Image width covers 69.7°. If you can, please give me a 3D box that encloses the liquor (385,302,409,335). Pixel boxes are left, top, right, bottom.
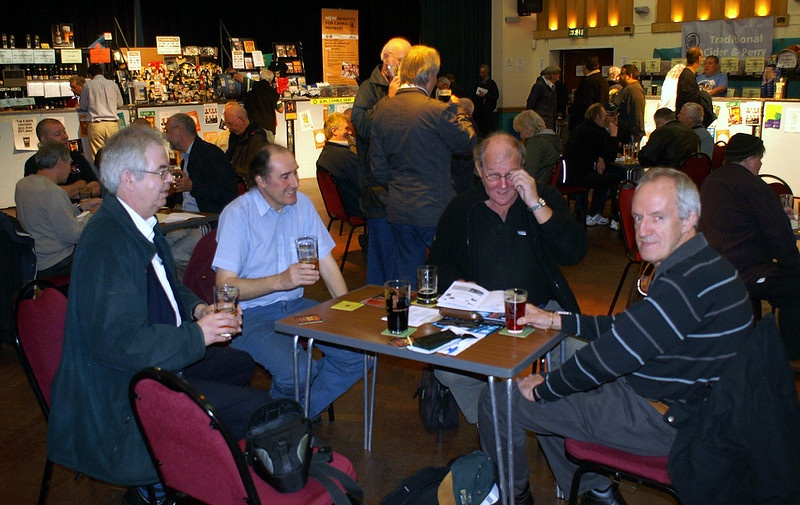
[{"bbox_3d":[-0.011,0.320,2.810,0.133,0.181,0.117,1,19,3],"label":"liquor"}]

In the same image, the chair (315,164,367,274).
[{"bbox_3d":[-0.528,-0.409,6.452,0.675,1.045,0.584,-9,15,-28],"label":"chair"}]

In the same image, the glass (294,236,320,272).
[{"bbox_3d":[-0.503,-0.003,3.166,0.105,0.173,0.198,-2,15,-12],"label":"glass"}]

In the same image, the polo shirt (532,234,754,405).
[{"bbox_3d":[1.165,0.325,2.781,0.832,0.636,0.762,3,3,32],"label":"polo shirt"}]

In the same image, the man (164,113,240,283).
[{"bbox_3d":[-1.904,-0.534,5.752,0.782,1.594,0.761,-11,16,-31],"label":"man"}]

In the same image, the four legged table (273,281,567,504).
[{"bbox_3d":[0.175,0.389,3.106,1.611,1.181,1.046,10,18,33],"label":"four legged table"}]

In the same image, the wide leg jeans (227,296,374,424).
[{"bbox_3d":[-0.605,0.624,3.435,0.803,0.237,0.605,9,11,42],"label":"wide leg jeans"}]

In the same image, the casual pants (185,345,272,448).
[{"bbox_3d":[-0.898,0.680,2.941,0.481,0.143,0.483,27,22,5],"label":"casual pants"}]

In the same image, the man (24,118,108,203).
[{"bbox_3d":[-3.377,-0.871,5.746,0.461,0.817,0.458,4,16,3],"label":"man"}]

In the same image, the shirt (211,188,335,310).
[{"bbox_3d":[-0.797,-0.019,3.526,0.970,0.811,0.377,-8,16,-35],"label":"shirt"}]

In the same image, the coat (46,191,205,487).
[{"bbox_3d":[-1.295,0.329,2.872,0.721,1.126,0.848,8,17,-8],"label":"coat"}]

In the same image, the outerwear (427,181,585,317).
[{"bbox_3d":[0.622,-0.010,3.625,0.891,0.850,0.589,-3,0,11],"label":"outerwear"}]
